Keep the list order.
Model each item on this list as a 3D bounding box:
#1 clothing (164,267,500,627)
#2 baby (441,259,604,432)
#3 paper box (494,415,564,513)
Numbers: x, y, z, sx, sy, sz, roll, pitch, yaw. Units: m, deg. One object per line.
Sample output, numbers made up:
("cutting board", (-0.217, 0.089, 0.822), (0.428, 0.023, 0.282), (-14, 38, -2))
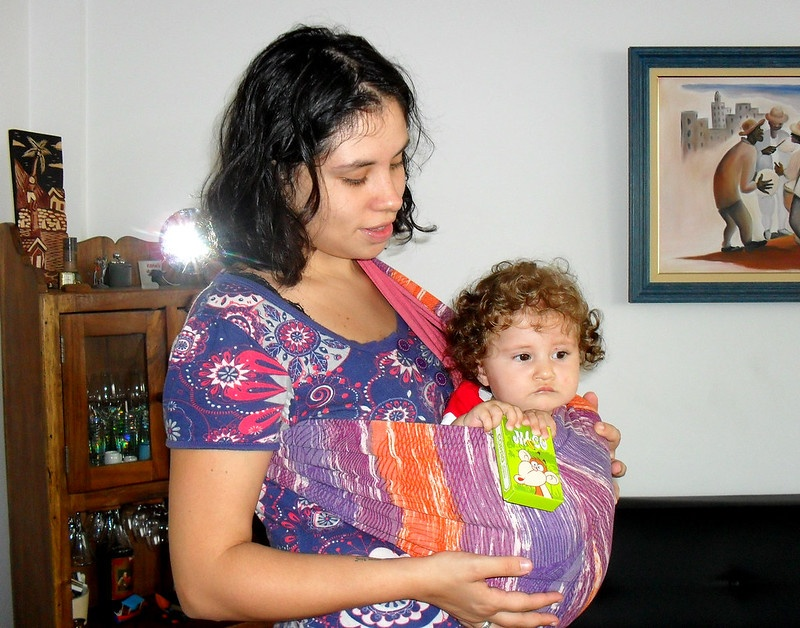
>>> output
("clothing", (-0.132, 0.274, 1.482), (0.376, 0.687, 0.735), (-9, 3, 22))
("baby", (0.289, 0.077, 1.832), (0.425, 0.518, 0.308), (5, -21, -6))
("paper box", (0.254, 0.303, 1.519), (0.137, 0.162, 0.138), (0, 1, 7))
